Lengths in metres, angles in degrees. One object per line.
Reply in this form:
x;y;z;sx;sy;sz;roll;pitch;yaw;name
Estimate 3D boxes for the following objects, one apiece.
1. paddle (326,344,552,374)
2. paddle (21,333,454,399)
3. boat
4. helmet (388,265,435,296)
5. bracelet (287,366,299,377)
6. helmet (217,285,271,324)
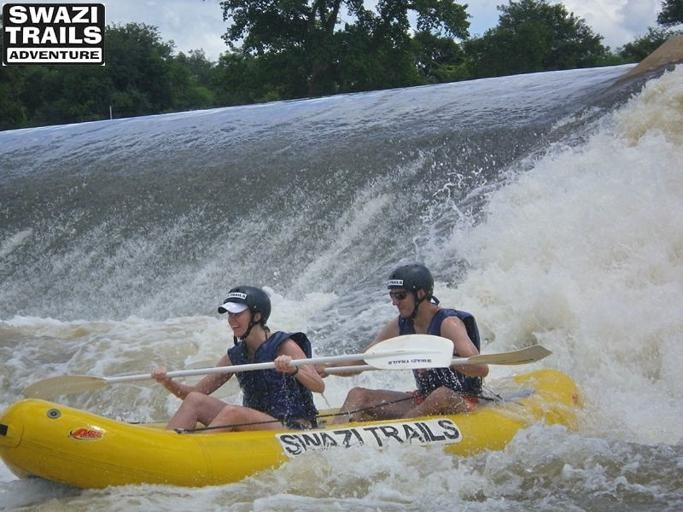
1.089;1.086;8.910;2.316;0.265;0.196;-8;-34;11;paddle
-1.178;1.256;9.553;3.677;0.199;0.648;-4;28;-6;paddle
-0.071;1.551;8.454;6.146;1.136;1.915;0;-6;-17;boat
0.727;0.246;8.786;0.373;0.293;0.287;16;-13;-19;helmet
-0.446;1.127;8.275;0.090;0.094;0.021;-27;44;-14;bracelet
-0.994;0.443;8.611;0.411;0.319;0.589;5;-5;40;helmet
